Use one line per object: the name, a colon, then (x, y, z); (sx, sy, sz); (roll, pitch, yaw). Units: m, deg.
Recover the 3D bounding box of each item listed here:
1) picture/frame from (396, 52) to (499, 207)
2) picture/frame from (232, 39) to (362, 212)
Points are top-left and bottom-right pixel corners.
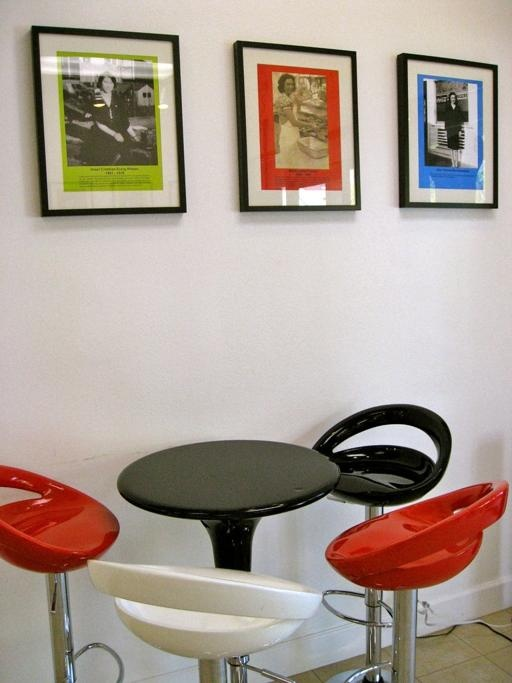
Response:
picture/frame: (0.712, -0.817, 2.541); (0.669, 0.701, 0.058); (-2, 3, -29)
picture/frame: (0.123, -0.748, 2.289); (0.674, 0.701, 0.032); (-2, 1, -29)
